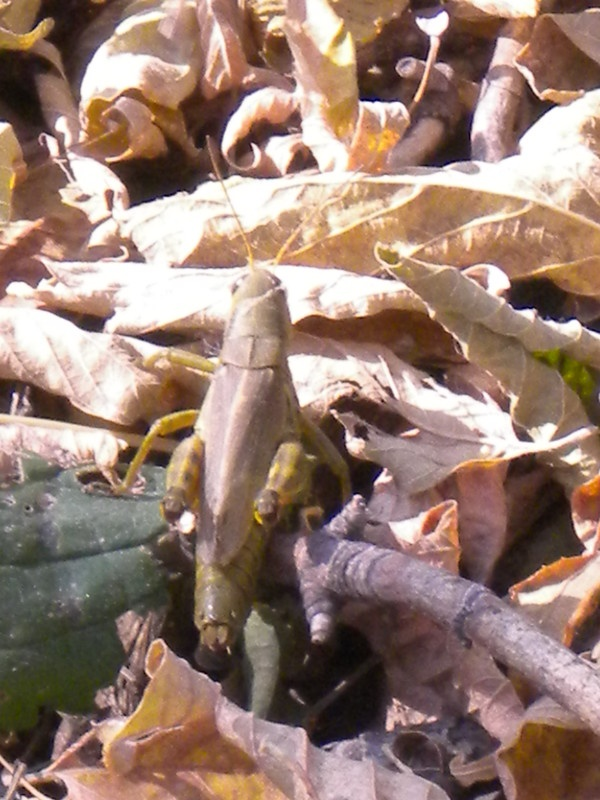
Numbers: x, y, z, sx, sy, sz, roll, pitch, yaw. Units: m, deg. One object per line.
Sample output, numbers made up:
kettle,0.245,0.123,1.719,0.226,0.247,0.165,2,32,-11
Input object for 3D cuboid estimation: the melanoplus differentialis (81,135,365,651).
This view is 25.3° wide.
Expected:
melanoplus differentialis,-0.047,0.015,1.076,0.158,0.143,0.343,8,75,-10
